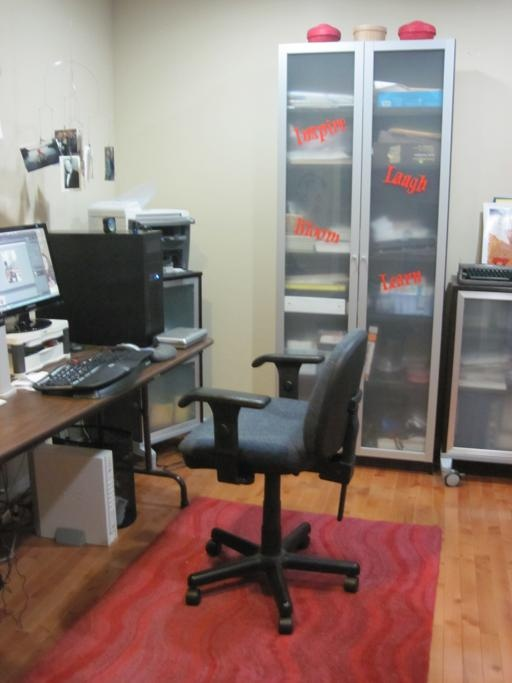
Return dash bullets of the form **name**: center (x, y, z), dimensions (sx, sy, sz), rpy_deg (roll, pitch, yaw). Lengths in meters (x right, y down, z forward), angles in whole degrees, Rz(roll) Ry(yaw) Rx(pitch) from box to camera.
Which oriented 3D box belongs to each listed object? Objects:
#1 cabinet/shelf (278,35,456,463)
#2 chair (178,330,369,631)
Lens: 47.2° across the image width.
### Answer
- **cabinet/shelf**: center (0.483, -0.649, 2.982), dimensions (0.699, 1.863, 0.287), rpy_deg (1, 51, 6)
- **chair**: center (0.057, 0.362, 1.840), dimensions (0.564, 0.837, 0.644), rpy_deg (1, 10, -3)
